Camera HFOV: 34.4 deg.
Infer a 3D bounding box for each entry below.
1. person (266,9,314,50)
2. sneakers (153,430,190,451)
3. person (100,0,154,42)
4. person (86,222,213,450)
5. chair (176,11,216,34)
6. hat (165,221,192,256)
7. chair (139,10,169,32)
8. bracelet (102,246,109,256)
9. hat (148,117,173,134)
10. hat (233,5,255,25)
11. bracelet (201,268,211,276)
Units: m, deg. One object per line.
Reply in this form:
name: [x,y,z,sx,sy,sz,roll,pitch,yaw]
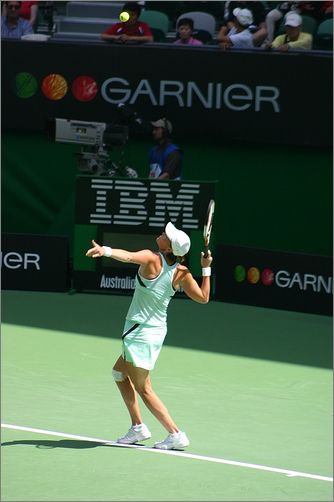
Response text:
person: [2.246,-3.920,9.946,0.655,0.812,0.858,11,34,32]
sneakers: [0.052,1.347,3.856,0.306,0.125,0.104,-5,7,21]
person: [-0.757,-4.301,10.183,0.983,0.915,0.746,2,4,0]
person: [-0.125,0.638,3.799,0.805,1.668,0.716,2,5,4]
chair: [0.646,-4.894,12.026,0.793,0.668,0.666,2,4,3]
hat: [0.044,-0.073,3.733,0.122,0.220,0.158,-13,26,40]
chair: [-0.261,-5.020,12.074,0.667,0.751,0.634,1,34,2]
bracelet: [-0.393,0.004,3.516,0.038,0.049,0.047,0,52,-14]
hat: [-0.105,-2.210,9.461,0.341,0.327,0.555,2,4,2]
hat: [1.430,-4.425,10.178,0.290,0.452,0.476,2,4,-1]
bracelet: [0.282,0.164,4.035,0.072,0.067,0.071,3,8,14]
